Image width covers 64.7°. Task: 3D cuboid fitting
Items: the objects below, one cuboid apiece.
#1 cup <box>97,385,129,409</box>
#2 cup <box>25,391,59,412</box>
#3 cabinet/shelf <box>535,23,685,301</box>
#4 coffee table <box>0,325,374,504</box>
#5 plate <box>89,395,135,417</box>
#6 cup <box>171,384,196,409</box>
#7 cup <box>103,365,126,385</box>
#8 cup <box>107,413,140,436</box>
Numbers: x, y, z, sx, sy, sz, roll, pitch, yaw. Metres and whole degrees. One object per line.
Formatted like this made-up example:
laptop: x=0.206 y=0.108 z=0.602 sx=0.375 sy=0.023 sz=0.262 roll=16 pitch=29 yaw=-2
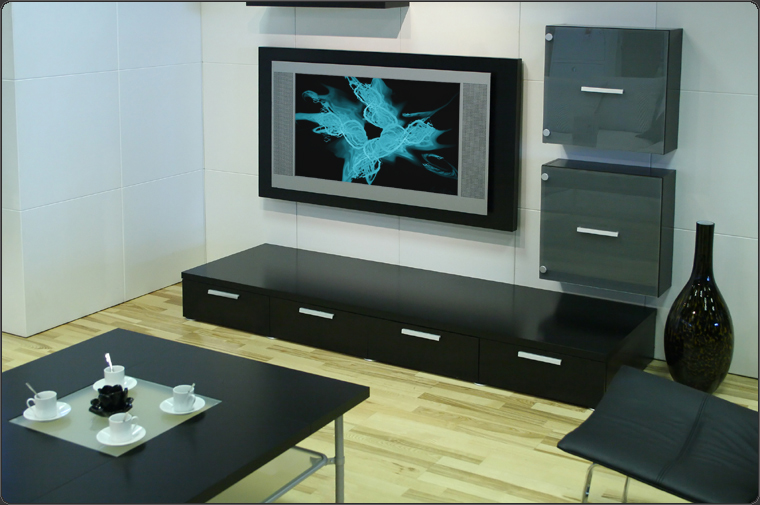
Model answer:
cup: x=-1.203 y=0.644 z=2.719 sx=0.105 sy=0.090 sz=0.113 roll=0 pitch=21 yaw=0
cup: x=-1.529 y=0.681 z=2.701 sx=0.145 sy=0.088 sz=0.089 roll=-3 pitch=20 yaw=-12
cabinet/shelf: x=1.539 y=-0.617 z=4.027 sx=1.005 sy=1.669 sz=0.413 roll=10 pitch=19 yaw=24
coffee table: x=-0.974 y=0.731 z=2.654 sx=1.032 sy=0.465 sz=1.024 roll=12 pitch=20 yaw=30
plate: x=-1.217 y=0.670 z=2.696 sx=0.128 sy=0.062 sz=0.125 roll=-16 pitch=25 yaw=-35
cup: x=-0.875 y=0.651 z=2.724 sx=0.118 sy=0.073 sz=0.072 roll=3 pitch=9 yaw=2
cup: x=-1.260 y=0.577 z=2.889 sx=0.090 sy=0.069 sz=0.096 roll=3 pitch=24 yaw=-1
cup: x=-1.079 y=0.711 z=2.531 sx=0.111 sy=0.073 sz=0.081 roll=-6 pitch=12 yaw=-40
